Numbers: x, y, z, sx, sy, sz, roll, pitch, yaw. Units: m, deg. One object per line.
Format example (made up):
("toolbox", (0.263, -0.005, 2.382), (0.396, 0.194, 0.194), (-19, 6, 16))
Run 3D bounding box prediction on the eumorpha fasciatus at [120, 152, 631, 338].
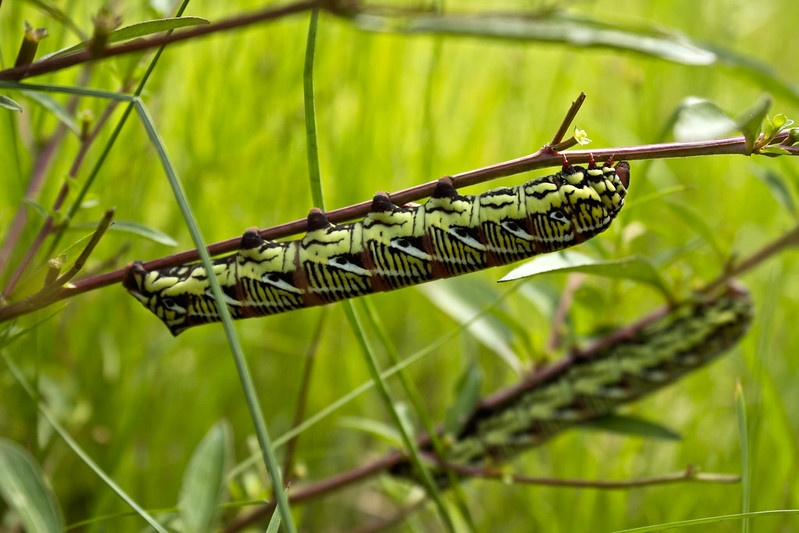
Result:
("eumorpha fasciatus", (-0.076, -0.023, 1.913), (1.055, 0.127, 0.274), (-16, -97, 19))
